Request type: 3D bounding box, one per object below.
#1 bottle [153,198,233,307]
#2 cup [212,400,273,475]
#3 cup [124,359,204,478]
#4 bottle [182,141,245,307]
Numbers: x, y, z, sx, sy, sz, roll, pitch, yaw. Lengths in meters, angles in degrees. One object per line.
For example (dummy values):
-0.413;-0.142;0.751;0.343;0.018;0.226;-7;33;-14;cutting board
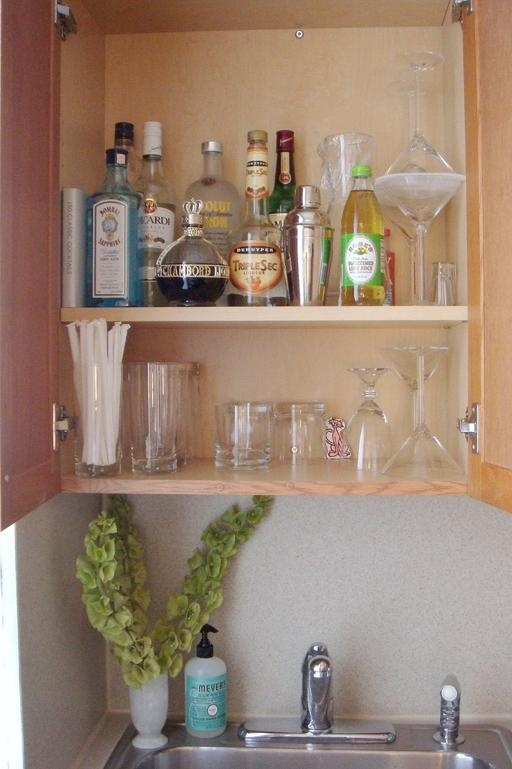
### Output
-0.096;-0.197;1.120;0.112;0.159;0.112;0;-1;0;bottle
-0.019;0.086;1.208;0.131;0.111;0.131;0;-2;0;cup
-0.152;0.057;1.174;0.159;0.239;0.145;1;-10;-4;cup
-0.072;-0.284;1.244;0.094;0.236;0.092;-1;1;0;bottle
